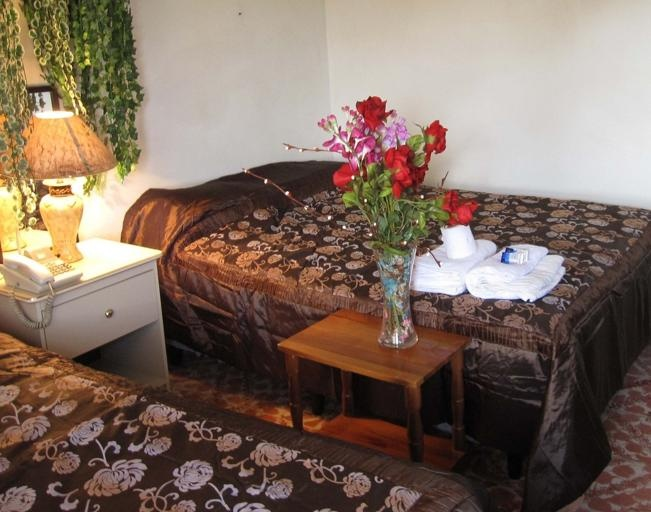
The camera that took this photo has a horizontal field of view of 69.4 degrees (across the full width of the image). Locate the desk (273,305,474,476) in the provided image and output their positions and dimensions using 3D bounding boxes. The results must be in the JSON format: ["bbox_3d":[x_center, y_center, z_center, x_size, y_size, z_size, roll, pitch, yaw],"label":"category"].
[{"bbox_3d":[0.216,0.441,1.927,0.757,0.582,0.575,11,26,33],"label":"desk"}]

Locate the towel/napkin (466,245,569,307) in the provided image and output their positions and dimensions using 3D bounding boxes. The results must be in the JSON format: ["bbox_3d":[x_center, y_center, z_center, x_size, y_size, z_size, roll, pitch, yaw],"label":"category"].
[{"bbox_3d":[0.758,0.067,1.875,0.338,0.095,0.249,4,26,34],"label":"towel/napkin"}]

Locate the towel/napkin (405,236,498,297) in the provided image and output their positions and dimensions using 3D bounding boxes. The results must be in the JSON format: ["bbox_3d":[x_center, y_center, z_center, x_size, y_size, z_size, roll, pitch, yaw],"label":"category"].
[{"bbox_3d":[0.526,0.032,1.935,0.312,0.088,0.229,4,17,37],"label":"towel/napkin"}]

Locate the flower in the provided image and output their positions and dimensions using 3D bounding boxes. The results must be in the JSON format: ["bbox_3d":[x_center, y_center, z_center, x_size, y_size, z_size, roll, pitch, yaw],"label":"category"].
[{"bbox_3d":[0.143,-0.024,1.630,0.722,0.802,0.640,-11,30,-10],"label":"flower"}]

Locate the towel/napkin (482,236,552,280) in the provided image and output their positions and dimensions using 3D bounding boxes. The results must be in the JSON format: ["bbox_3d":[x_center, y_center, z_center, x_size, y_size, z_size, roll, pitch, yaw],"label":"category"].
[{"bbox_3d":[0.786,-0.016,1.961,0.158,0.046,0.280,2,20,31],"label":"towel/napkin"}]
